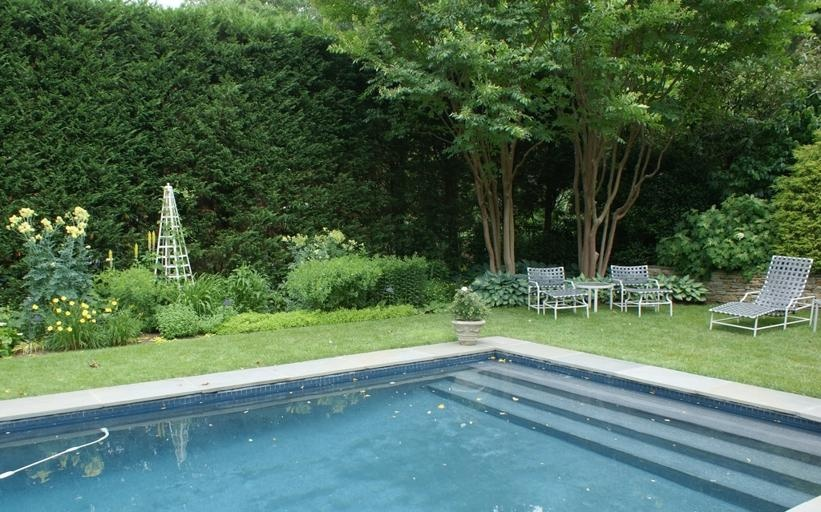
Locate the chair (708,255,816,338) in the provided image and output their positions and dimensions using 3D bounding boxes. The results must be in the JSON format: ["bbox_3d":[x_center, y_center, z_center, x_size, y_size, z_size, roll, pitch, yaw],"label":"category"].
[{"bbox_3d":[7.833,0.806,14.026,2.987,1.946,1.564,-4,4,-30],"label":"chair"}]
